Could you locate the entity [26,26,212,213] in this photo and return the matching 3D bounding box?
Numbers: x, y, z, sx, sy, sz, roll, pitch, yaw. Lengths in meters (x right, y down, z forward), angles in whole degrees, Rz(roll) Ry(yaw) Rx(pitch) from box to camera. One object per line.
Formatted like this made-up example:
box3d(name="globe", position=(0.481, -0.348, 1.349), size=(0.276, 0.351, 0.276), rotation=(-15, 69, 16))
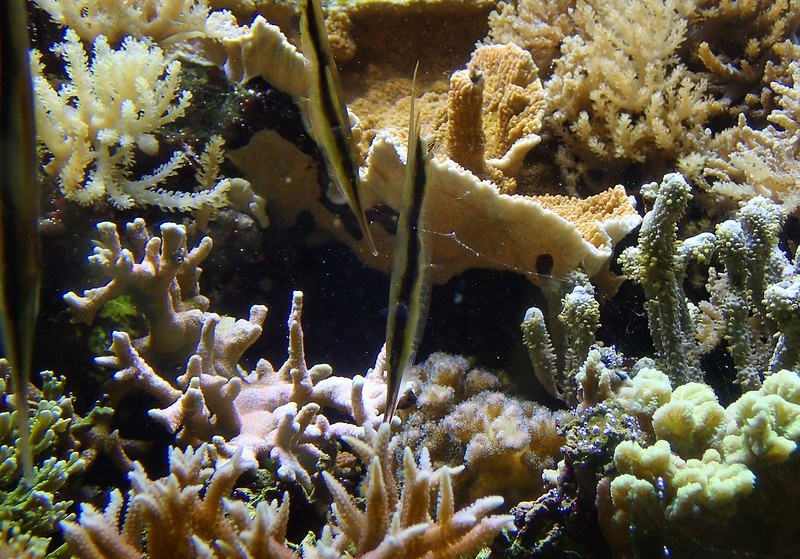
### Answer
box3d(name="entity", position=(-1.887, -0.953, 5.581), size=(0.879, 1.128, 0.415), rotation=(19, -23, -23))
